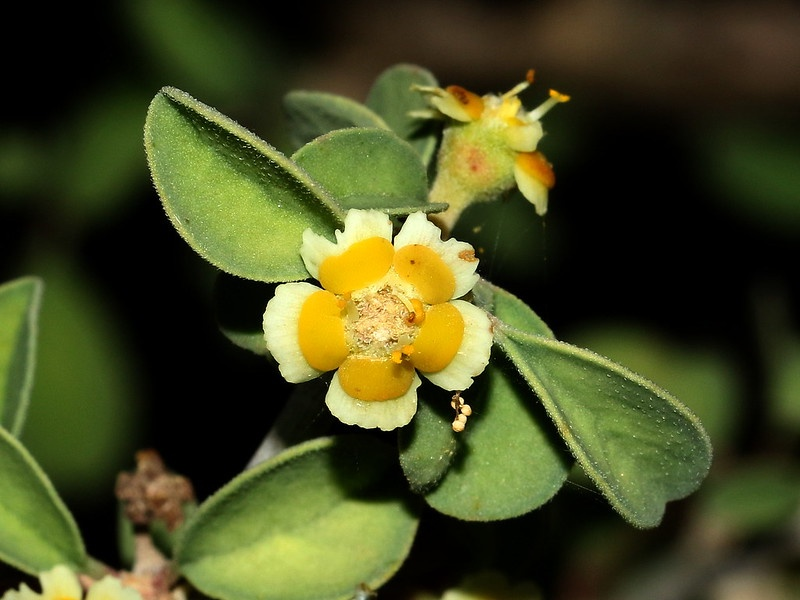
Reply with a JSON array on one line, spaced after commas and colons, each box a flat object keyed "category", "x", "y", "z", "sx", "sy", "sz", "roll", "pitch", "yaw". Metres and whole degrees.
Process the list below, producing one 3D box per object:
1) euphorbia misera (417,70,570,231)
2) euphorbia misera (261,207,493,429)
[{"category": "euphorbia misera", "x": 0.191, "y": -0.329, "z": 1.845, "sx": 0.307, "sy": 0.186, "sz": 0.333, "roll": -2, "pitch": 74, "yaw": 1}, {"category": "euphorbia misera", "x": -0.028, "y": 0.032, "z": 1.595, "sx": 0.411, "sy": 0.117, "sz": 0.401, "roll": 30, "pitch": 77, "yaw": 9}]
